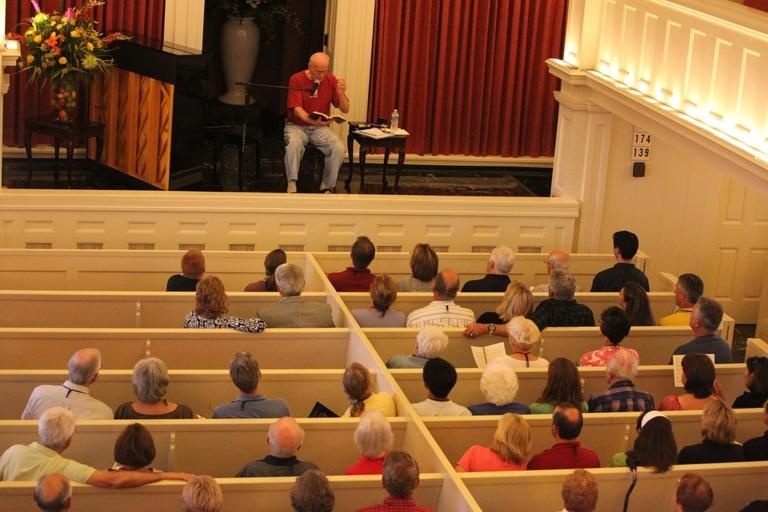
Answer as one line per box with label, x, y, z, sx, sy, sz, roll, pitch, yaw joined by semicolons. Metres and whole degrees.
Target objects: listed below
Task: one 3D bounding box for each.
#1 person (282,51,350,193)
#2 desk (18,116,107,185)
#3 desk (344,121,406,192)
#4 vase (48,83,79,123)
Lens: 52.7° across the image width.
person;-0.791;-1.562;9.181;0.765;1.631;0.860;2;7;-17
desk;-3.835;-1.447;9.197;0.778;1.020;1.204;-11;19;-44
desk;-0.077;-1.443;9.847;0.811;1.172;1.220;1;17;-7
vase;-3.697;-1.766;8.967;0.375;0.575;0.366;-4;25;-23
